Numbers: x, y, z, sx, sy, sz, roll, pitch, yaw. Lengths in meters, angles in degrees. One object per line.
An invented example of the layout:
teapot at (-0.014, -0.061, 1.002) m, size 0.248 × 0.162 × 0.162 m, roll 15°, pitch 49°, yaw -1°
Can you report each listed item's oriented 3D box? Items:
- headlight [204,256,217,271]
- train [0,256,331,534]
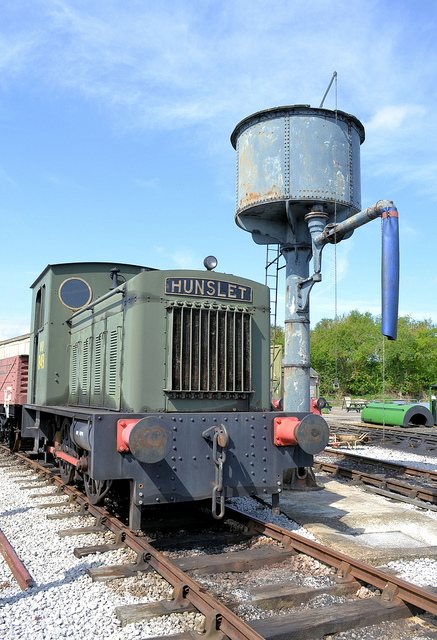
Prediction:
headlight at (-0.096, -0.625, 5.697) m, size 0.126 × 0.164 × 0.090 m, roll 1°, pitch -4°, yaw -2°
train at (-1.010, 0.750, 7.914) m, size 2.341 × 3.205 × 6.671 m, roll 1°, pitch -5°, yaw -25°
